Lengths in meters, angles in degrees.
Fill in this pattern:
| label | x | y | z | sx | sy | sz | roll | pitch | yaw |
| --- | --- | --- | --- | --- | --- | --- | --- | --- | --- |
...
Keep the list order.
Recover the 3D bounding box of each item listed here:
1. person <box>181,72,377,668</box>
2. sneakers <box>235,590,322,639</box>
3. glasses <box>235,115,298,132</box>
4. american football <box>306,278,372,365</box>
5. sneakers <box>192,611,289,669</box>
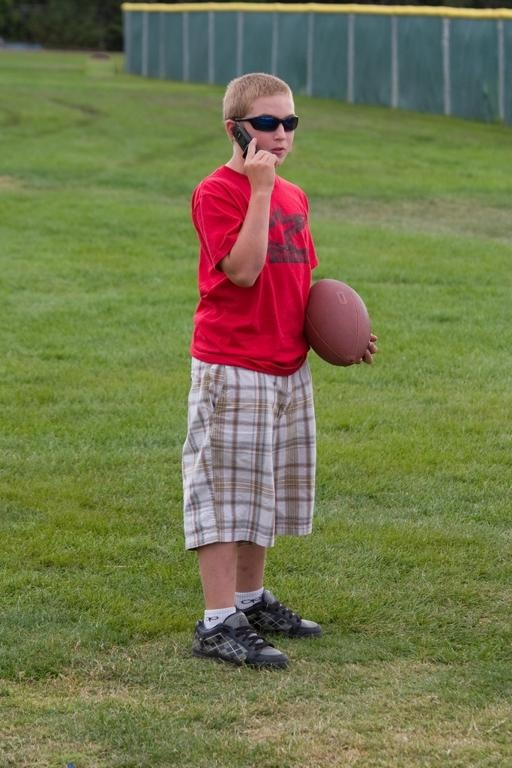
| label | x | y | z | sx | sy | sz | roll | pitch | yaw |
| --- | --- | --- | --- | --- | --- | --- | --- | --- | --- |
| person | 0.005 | -0.050 | 6.207 | 0.484 | 1.959 | 0.395 | 0 | 5 | -12 |
| sneakers | 0.077 | 0.790 | 6.448 | 0.339 | 0.171 | 0.117 | 4 | 13 | 7 |
| glasses | 0.033 | -0.855 | 6.115 | 0.217 | 0.061 | 0.104 | 0 | 6 | -11 |
| american football | 0.283 | -0.198 | 6.380 | 0.167 | 0.290 | 0.225 | -18 | -26 | -21 |
| sneakers | -0.066 | 0.869 | 6.267 | 0.342 | 0.182 | 0.137 | 3 | 5 | 21 |
